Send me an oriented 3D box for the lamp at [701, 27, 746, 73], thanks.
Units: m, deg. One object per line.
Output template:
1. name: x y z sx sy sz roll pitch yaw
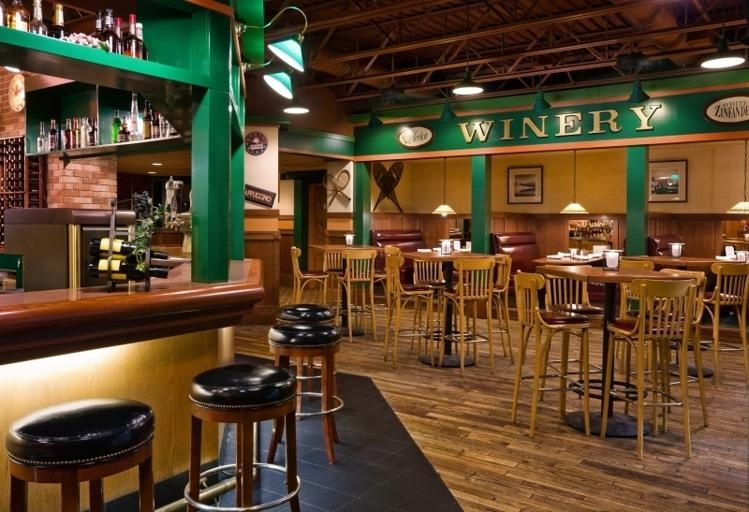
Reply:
1. lamp: 3.962 -2.385 6.572 0.404 0.376 0.567 6 10 26

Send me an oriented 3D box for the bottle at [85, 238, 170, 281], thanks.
1. bottle: -1.453 0.021 3.320 0.448 0.225 0.234 3 -3 -1

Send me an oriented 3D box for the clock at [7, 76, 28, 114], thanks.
1. clock: -4.583 -2.112 7.370 0.113 0.457 0.768 -6 12 -37

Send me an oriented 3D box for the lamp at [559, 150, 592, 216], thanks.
1. lamp: 3.944 -1.443 11.317 0.529 1.302 1.792 5 10 18

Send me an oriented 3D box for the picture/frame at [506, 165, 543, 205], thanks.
1. picture/frame: 3.284 -1.573 12.568 1.009 1.023 0.082 1 -2 29
